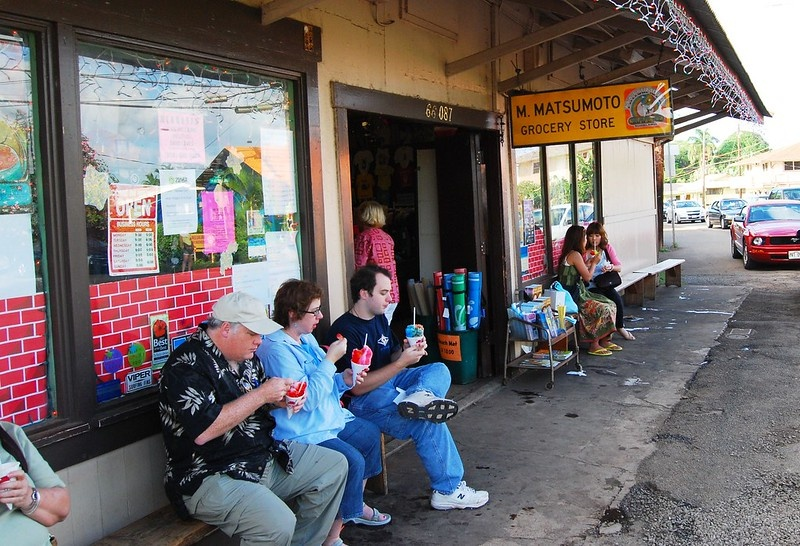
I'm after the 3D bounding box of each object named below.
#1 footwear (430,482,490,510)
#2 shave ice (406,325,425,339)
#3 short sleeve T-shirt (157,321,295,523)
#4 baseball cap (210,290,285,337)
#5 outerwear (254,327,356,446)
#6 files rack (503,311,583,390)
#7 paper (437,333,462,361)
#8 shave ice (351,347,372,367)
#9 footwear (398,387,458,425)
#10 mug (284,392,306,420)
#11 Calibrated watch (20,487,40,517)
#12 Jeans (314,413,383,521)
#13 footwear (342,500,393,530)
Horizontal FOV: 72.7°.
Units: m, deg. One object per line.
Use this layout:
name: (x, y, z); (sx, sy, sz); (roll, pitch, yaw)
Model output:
footwear: (0.475, 1.789, 4.417); (0.475, 0.255, 0.188); (-1, 4, -3)
shave ice: (0.113, 0.466, 4.370); (0.116, 0.116, 0.119); (0, 6, 12)
short sleeve T-shirt: (-1.115, 0.892, 3.427); (0.730, 1.198, 0.417); (-7, 10, -27)
baseball cap: (-0.939, 0.247, 3.351); (0.373, 0.172, 0.243); (11, 12, -6)
outerwear: (-0.690, 0.792, 4.146); (0.740, 0.868, 0.718); (-4, 3, 10)
files rack: (1.859, 0.661, 7.177); (0.774, 0.902, 1.487); (-1, 2, 21)
paper: (0.610, 0.916, 6.758); (0.317, 0.342, 0.305); (0, -4, -41)
shave ice: (-0.285, 0.618, 4.017); (0.138, 0.152, 0.145); (0, -9, 0)
footwear: (0.221, 0.989, 4.184); (0.465, 0.202, 0.236); (5, 10, 5)
mug: (-0.694, 0.893, 3.671); (0.172, 0.174, 0.172); (6, 14, -22)
Calibrated watch: (-1.813, 1.142, 2.700); (0.046, 0.115, 0.103); (9, 18, -6)
Jeans: (-0.361, 1.274, 4.293); (0.563, 0.870, 0.946); (-1, -2, -3)
footwear: (-0.237, 1.859, 4.189); (0.403, 0.131, 0.164); (0, 7, 2)
